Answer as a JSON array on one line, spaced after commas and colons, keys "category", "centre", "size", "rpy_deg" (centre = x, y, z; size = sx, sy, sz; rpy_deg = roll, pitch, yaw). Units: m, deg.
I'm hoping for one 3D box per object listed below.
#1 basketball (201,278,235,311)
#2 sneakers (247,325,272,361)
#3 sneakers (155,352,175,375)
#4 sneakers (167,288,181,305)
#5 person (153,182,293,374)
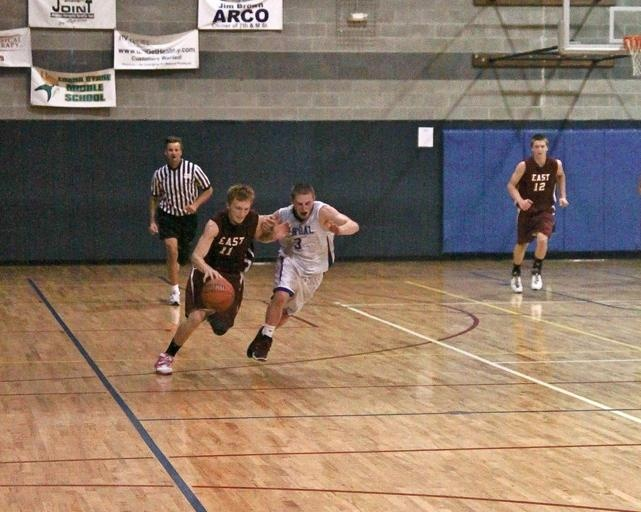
[{"category": "basketball", "centre": [-0.668, 0.264, 5.192], "size": [0.233, 0.275, 0.235], "rpy_deg": [1, 1, 8]}, {"category": "sneakers", "centre": [-0.438, 0.604, 5.591], "size": [0.107, 0.145, 0.318], "rpy_deg": [30, 14, -17]}, {"category": "sneakers", "centre": [-1.059, 0.735, 5.423], "size": [0.070, 0.090, 0.197], "rpy_deg": [27, -4, -17]}, {"category": "sneakers", "centre": [-1.535, 0.420, 8.332], "size": [0.108, 0.129, 0.280], "rpy_deg": [2, 1, -6]}, {"category": "person", "centre": [-0.651, 0.170, 5.326], "size": [0.906, 1.280, 0.538], "rpy_deg": [-1, 6, -13]}]
